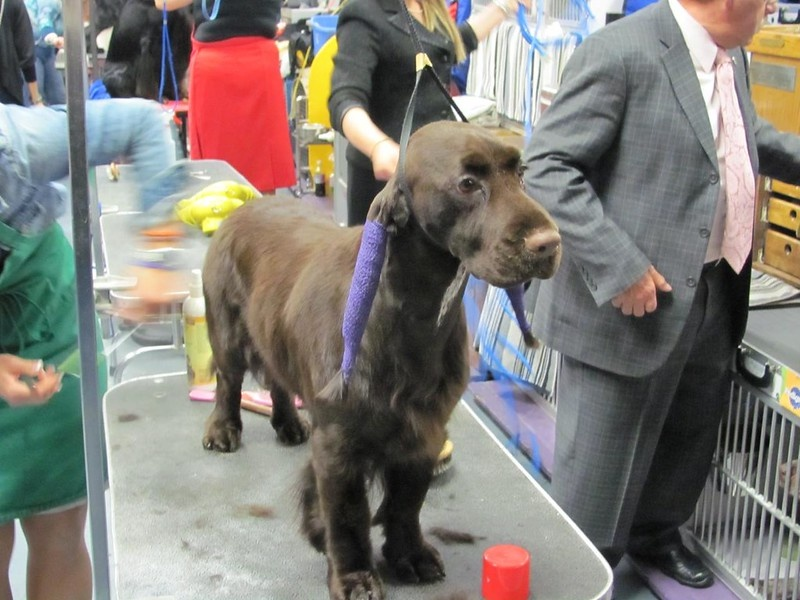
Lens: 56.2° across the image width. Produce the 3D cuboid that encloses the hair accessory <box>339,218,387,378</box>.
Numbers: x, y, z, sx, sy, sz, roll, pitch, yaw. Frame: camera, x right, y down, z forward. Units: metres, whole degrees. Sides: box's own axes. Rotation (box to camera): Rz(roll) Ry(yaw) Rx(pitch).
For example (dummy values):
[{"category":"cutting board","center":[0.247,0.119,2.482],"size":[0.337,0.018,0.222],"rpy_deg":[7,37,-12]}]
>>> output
[{"category":"hair accessory","center":[-0.075,-0.010,1.449],"size":[0.052,0.358,0.064],"rpy_deg":[14,22,24]}]
